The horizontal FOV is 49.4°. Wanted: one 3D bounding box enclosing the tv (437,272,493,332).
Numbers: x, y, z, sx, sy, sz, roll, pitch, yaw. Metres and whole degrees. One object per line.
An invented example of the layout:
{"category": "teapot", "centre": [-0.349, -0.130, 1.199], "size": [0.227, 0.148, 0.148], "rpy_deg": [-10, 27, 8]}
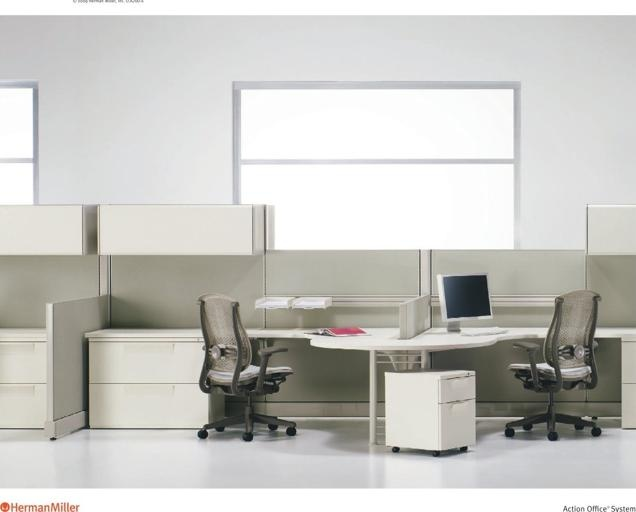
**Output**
{"category": "tv", "centre": [1.327, 0.412, 6.252], "size": [0.539, 0.454, 0.237], "rpy_deg": [0, -5, -31]}

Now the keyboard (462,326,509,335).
{"category": "keyboard", "centre": [1.463, 0.678, 6.116], "size": [0.379, 0.053, 0.528], "rpy_deg": [-2, -5, 14]}

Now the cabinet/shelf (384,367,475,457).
{"category": "cabinet/shelf", "centre": [0.880, 1.275, 5.621], "size": [0.621, 0.609, 0.567], "rpy_deg": [-7, -9, 39]}

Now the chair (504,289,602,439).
{"category": "chair", "centre": [2.022, 0.938, 5.949], "size": [0.774, 1.258, 0.604], "rpy_deg": [-2, -5, 14]}

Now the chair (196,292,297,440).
{"category": "chair", "centre": [-0.641, 0.957, 5.895], "size": [0.758, 1.232, 0.605], "rpy_deg": [0, -5, -10]}
